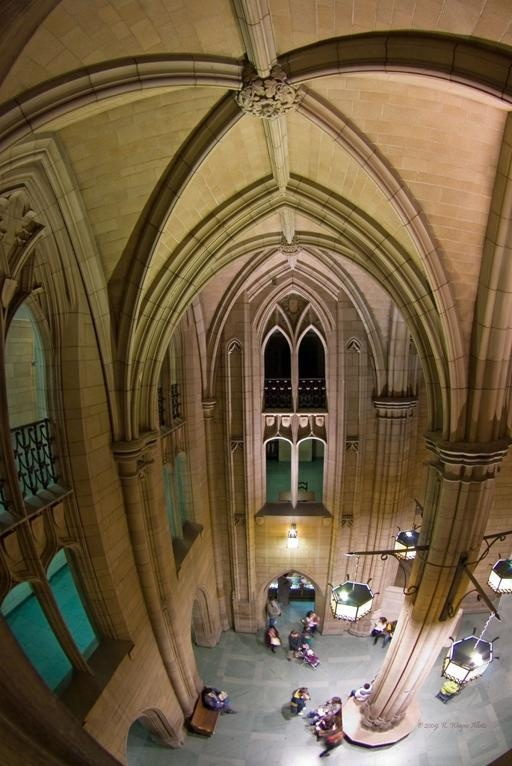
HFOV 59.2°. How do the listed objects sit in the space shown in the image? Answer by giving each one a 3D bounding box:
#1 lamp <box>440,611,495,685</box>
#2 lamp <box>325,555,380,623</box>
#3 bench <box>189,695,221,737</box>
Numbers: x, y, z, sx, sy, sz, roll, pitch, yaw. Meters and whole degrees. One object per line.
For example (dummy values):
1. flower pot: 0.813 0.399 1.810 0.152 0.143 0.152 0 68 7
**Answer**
1. lamp: 2.793 3.807 6.002 0.533 0.840 0.532 -1 4 -4
2. lamp: 1.423 2.932 6.559 0.476 1.169 0.532 -3 -3 26
3. bench: -0.883 5.592 7.495 0.411 0.345 0.512 0 5 11
